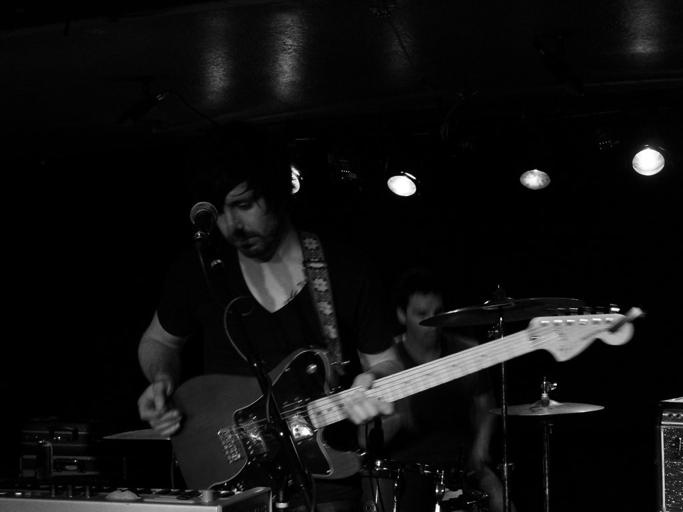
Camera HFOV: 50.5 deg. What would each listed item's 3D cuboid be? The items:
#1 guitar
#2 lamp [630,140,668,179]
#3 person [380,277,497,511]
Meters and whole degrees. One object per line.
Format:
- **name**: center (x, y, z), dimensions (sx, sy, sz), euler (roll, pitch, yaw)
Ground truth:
- **guitar**: center (0.291, 0.890, 4.408), dimensions (2.914, 0.848, 1.239), euler (-11, -11, 10)
- **lamp**: center (2.027, -0.636, 4.768), dimensions (0.211, 0.165, 0.147), euler (-12, -11, 18)
- **person**: center (0.653, 0.844, 4.627), dimensions (0.618, 1.439, 0.304), euler (-3, 3, 1)
